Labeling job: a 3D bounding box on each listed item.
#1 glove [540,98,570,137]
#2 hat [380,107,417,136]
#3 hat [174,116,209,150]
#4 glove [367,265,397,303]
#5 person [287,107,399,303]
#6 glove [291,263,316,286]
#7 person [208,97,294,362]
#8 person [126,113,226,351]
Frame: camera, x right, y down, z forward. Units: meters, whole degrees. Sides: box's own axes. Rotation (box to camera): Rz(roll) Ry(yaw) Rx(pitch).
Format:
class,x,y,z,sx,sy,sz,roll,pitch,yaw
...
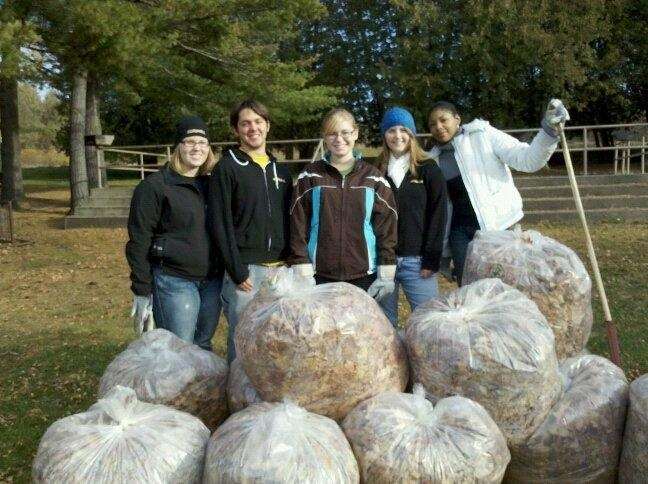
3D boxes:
class,x,y,z,sx,sy,sz,roll,pitch,yaw
glove,1.859,-0.994,4.879,0.185,0.300,0.397,3,14,21
hat,0.634,-1.068,5.137,0.228,0.232,0.248,2,-1,24
hat,-1.069,-0.916,4.894,0.220,0.207,0.232,-17,-2,-13
glove,0.427,0.316,4.751,0.252,0.299,0.175,-1,-3,0
person,0.148,-0.296,4.729,0.841,1.433,0.508,-1,12,6
glove,-0.149,0.236,4.537,0.141,0.173,0.146,-1,2,30
person,-0.553,-0.120,4.821,0.681,1.964,0.526,-8,14,-25
person,-1.081,0.255,5.028,0.903,2.489,0.767,-3,27,-13
